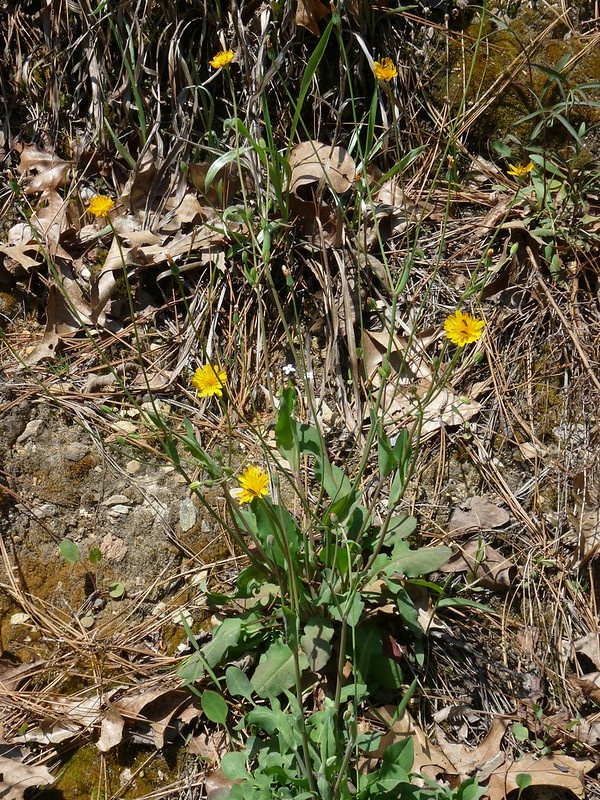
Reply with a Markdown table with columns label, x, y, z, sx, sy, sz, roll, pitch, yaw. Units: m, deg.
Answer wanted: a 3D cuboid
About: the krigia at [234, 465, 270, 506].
| label | x | y | z | sx | sy | sz | roll | pitch | yaw |
| --- | --- | --- | --- | --- | --- | --- | --- | --- | --- |
| krigia | -0.100 | 0.185 | 1.654 | 0.088 | 0.044 | 0.090 | -7 | 73 | 24 |
